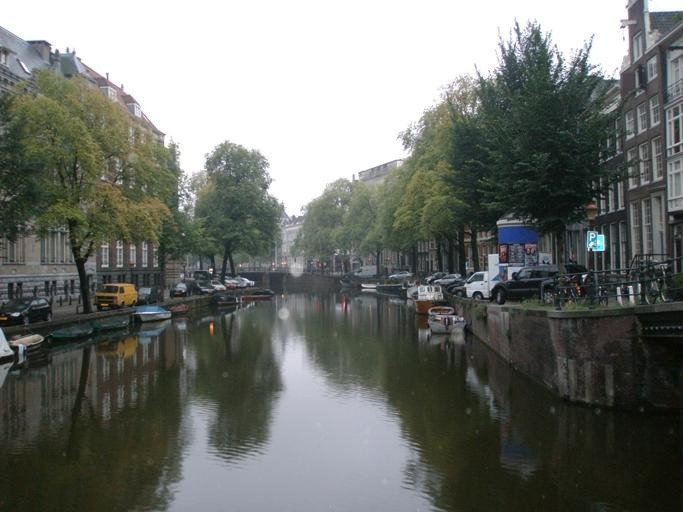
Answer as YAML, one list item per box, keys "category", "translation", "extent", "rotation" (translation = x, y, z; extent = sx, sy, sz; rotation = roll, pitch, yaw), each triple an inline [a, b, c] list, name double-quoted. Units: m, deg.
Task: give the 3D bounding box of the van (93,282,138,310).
- category: "van"
  translation: [-15.685, 2.831, 45.792]
  extent: [1.403, 1.296, 2.659]
  rotation: [-1, -3, 6]

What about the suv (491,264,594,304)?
- category: "suv"
  translation: [8.826, 1.314, 31.626]
  extent: [1.861, 1.676, 3.850]
  rotation: [1, -3, -39]

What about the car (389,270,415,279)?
- category: "car"
  translation: [7.566, 2.247, 84.539]
  extent: [2.684, 1.041, 1.309]
  rotation: [1, -2, 0]

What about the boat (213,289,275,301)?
- category: "boat"
  translation: [-10.879, 4.463, 75.726]
  extent: [1.450, 1.252, 7.774]
  rotation: [3, 3, 24]

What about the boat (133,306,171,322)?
- category: "boat"
  translation: [-13.055, 4.059, 45.326]
  extent: [0.762, 1.277, 3.084]
  rotation: [3, 8, 28]

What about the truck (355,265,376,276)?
- category: "truck"
  translation: [3.604, 2.192, 97.007]
  extent: [2.579, 1.464, 1.323]
  rotation: [2, -3, 4]

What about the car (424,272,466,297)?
- category: "car"
  translation: [9.505, 2.758, 61.078]
  extent: [3.238, 1.261, 1.689]
  rotation: [2, 0, -2]
